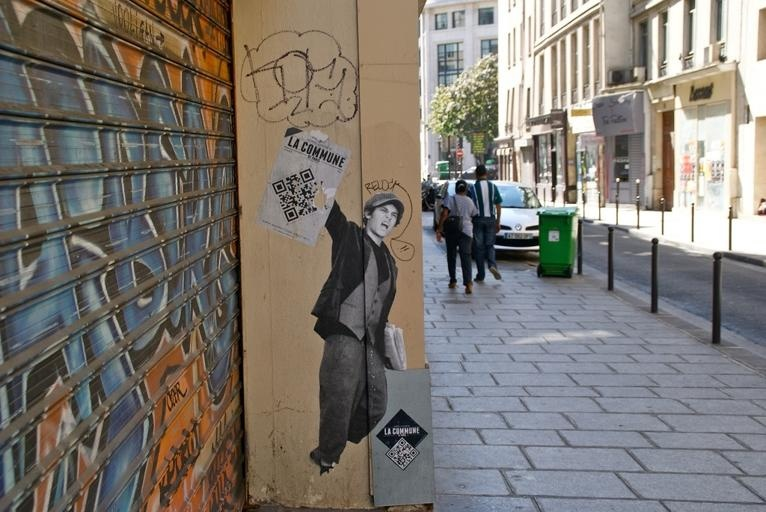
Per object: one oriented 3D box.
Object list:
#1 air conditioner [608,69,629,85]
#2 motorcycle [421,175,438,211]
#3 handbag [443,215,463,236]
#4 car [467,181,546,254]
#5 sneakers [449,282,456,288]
[{"bbox_3d":[13.617,-10.014,33.905,0.974,1.032,0.971,9,18,34],"label":"air conditioner"},{"bbox_3d":[2.943,-3.432,32.530,1.299,1.749,2.551,0,2,1],"label":"motorcycle"},{"bbox_3d":[1.506,-0.624,12.506,0.366,0.392,0.136,3,0,43],"label":"handbag"},{"bbox_3d":[3.853,-1.118,17.336,1.560,1.364,2.991,0,2,-5],"label":"car"},{"bbox_3d":[1.528,0.666,12.753,0.125,0.142,0.102,0,5,1],"label":"sneakers"}]
